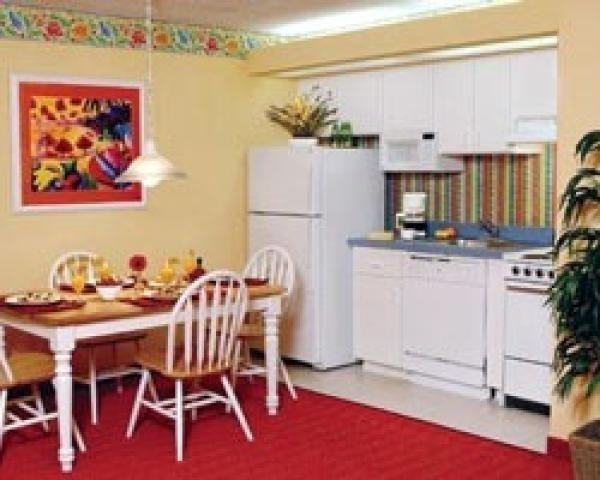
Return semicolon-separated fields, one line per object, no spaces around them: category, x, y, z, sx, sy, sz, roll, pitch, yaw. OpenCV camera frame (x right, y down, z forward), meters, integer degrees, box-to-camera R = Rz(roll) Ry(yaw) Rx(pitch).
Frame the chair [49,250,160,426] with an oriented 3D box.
chair;-1.426;0.766;4.054;0.527;0.988;0.572;-11;-27;-19

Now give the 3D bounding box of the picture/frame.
picture/frame;-1.641;-0.708;3.889;1.028;0.997;0.105;-4;8;-40

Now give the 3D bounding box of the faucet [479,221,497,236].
faucet;1.506;-0.089;4.275;0.032;0.116;0.118;-19;24;-34

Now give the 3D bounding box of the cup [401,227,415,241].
cup;0.893;-0.050;4.430;0.099;0.078;0.097;1;-2;0

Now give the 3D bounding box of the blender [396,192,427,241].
blender;0.940;-0.210;4.541;0.260;0.384;0.404;1;5;10

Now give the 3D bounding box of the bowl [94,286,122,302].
bowl;-1.125;0.307;3.124;0.098;0.063;0.101;2;-2;0

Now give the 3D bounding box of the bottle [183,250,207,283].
bottle;-0.679;0.191;3.562;0.154;0.244;0.160;0;-2;0

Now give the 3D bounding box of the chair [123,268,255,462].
chair;-0.628;0.668;3.081;0.673;1.000;0.678;4;3;-6

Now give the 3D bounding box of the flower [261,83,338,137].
flower;0.053;-1.095;4.754;0.497;0.388;0.551;0;0;-14
